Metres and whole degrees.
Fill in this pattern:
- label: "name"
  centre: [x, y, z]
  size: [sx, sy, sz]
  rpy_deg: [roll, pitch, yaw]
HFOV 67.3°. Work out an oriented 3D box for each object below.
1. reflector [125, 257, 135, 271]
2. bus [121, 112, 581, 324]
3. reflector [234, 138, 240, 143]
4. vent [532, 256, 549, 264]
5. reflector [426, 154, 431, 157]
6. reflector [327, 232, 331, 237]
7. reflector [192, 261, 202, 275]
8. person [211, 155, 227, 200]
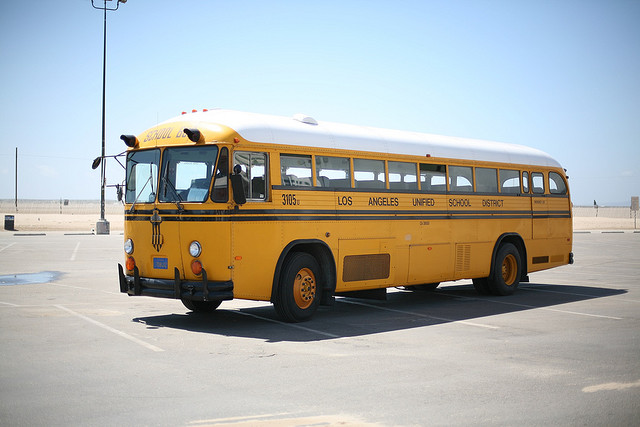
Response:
- label: "reflector"
  centre: [-4.350, 1.161, 11.066]
  size: [0.165, 0.312, 0.264]
  rpy_deg: [3, -2, -31]
- label: "bus"
  centre: [2.515, 0.056, 15.221]
  size: [15.542, 5.195, 5.401]
  rpy_deg: [2, -4, -39]
- label: "reflector"
  centre: [-1.733, -1.523, 10.023]
  size: [0.077, 0.071, 0.079]
  rpy_deg: [-14, 27, -16]
- label: "vent"
  centre: [7.269, 1.535, 15.979]
  size: [0.348, 0.090, 0.335]
  rpy_deg: [1, 4, 10]
- label: "reflector"
  centre: [2.947, -1.589, 13.188]
  size: [0.101, 0.072, 0.057]
  rpy_deg: [-3, 9, -32]
- label: "reflector"
  centre: [0.195, 0.493, 11.129]
  size: [0.075, 0.102, 0.007]
  rpy_deg: [1, -1, -37]
- label: "reflector"
  centre: [-2.539, 1.123, 9.976]
  size: [0.239, 0.255, 0.035]
  rpy_deg: [12, 17, 29]
- label: "person"
  centre: [-2.061, -0.747, 9.921]
  size: [0.331, 0.923, 0.093]
  rpy_deg: [1, -1, 5]
